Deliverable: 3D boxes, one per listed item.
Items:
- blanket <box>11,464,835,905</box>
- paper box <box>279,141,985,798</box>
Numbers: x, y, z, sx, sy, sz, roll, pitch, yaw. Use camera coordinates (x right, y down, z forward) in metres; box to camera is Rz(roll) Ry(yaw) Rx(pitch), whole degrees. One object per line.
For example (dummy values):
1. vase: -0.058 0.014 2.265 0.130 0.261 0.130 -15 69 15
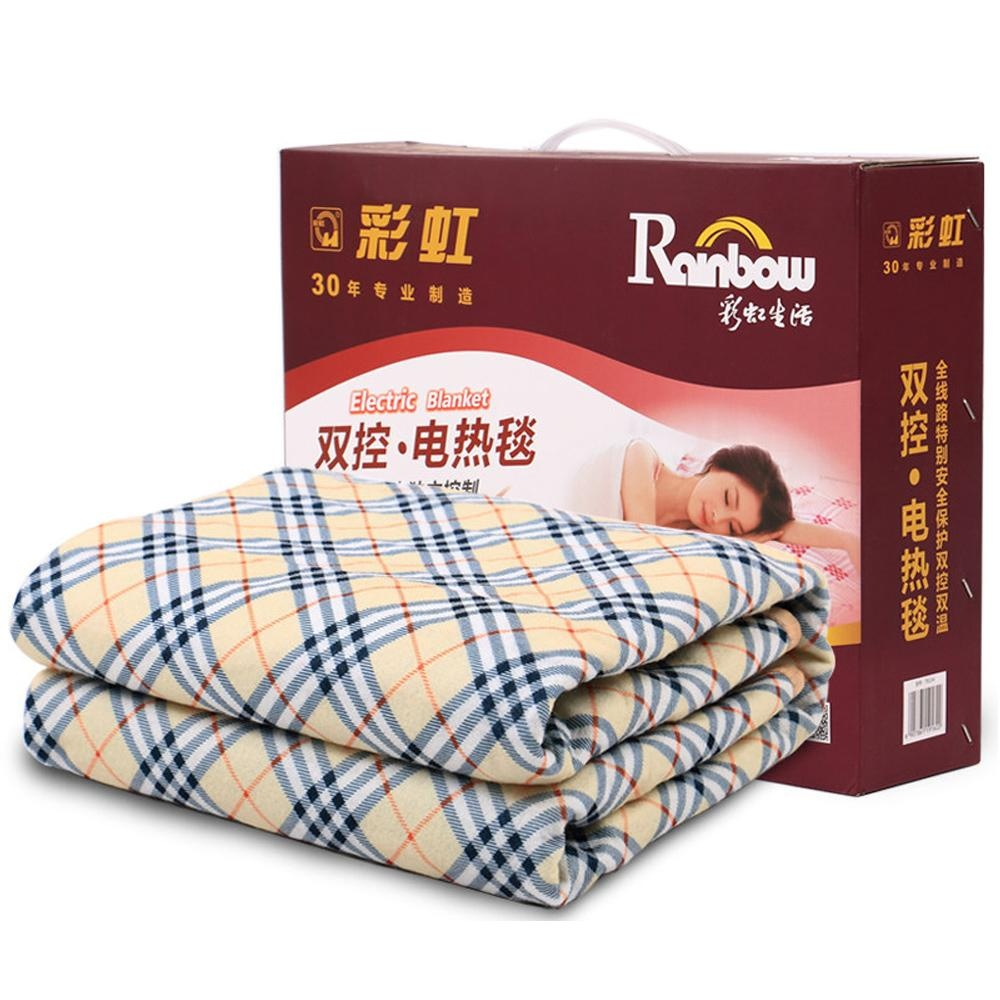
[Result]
1. blanket: -0.109 0.105 0.797 0.462 0.135 0.355 9 17 32
2. paper box: 0.136 -0.022 0.867 0.670 0.489 0.212 4 10 32
